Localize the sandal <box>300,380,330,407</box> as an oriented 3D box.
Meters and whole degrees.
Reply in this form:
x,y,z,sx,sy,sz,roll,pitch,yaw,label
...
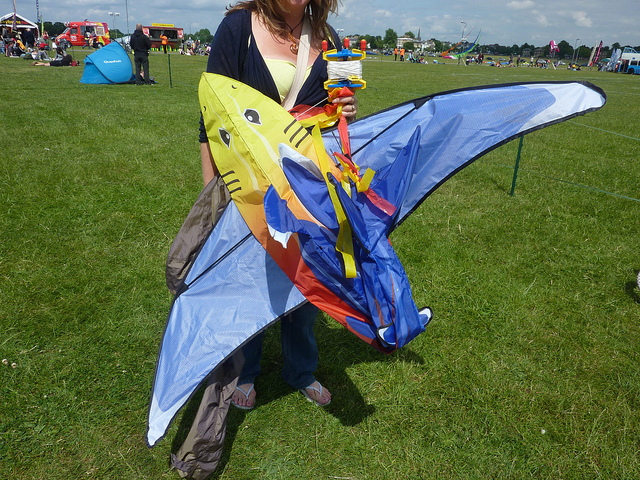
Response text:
x,y,z,sx,sy,sz,roll,pitch,yaw,label
-0.041,1.398,5.106,0.291,0.082,0.115,37,49,25,sandal

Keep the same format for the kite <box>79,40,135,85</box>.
x,y,z,sx,sy,sz,roll,pitch,yaw,label
-6.158,-5.034,16.586,0.512,1.159,1.476,7,48,40,kite

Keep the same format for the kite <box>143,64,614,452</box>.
x,y,z,sx,sy,sz,roll,pitch,yaw,label
0.010,-0.477,4.265,3.611,0.857,2.401,-27,75,-39,kite
